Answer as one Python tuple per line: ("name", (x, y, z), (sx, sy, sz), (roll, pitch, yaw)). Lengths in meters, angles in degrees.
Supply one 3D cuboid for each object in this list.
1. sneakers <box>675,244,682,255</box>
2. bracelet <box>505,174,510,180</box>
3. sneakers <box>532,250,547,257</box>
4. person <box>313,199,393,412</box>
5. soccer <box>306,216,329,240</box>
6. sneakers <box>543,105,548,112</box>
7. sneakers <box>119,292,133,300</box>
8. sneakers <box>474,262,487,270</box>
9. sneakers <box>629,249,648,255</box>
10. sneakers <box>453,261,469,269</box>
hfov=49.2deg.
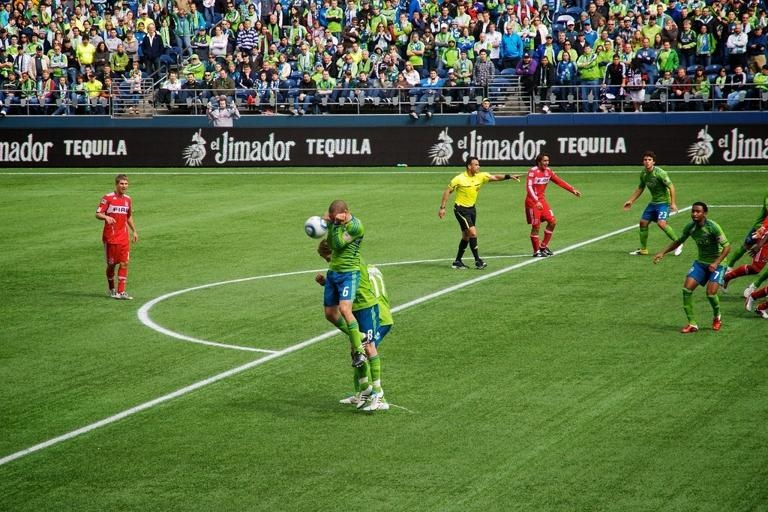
("sneakers", (7.001, -0.164, 20.066), (0.103, 0.129, 0.308), (-24, 15, 40))
("bracelet", (3.155, -2.059, 21.493), (0.123, 0.112, 0.377), (7, 4, 18))
("sneakers", (3.950, -0.076, 21.434), (0.327, 0.148, 0.122), (-1, 3, 27))
("person", (-0.469, 0.793, 12.918), (0.975, 3.314, 0.879), (-1, 9, 2))
("soccer", (-1.083, -0.470, 13.140), (0.350, 0.338, 0.337), (-4, 53, -16))
("sneakers", (6.973, -6.465, 36.377), (0.187, 0.212, 0.510), (2, 10, 6))
("sneakers", (-5.797, 0.877, 18.748), (0.367, 0.161, 0.131), (2, 5, 1))
("sneakers", (2.357, 0.204, 20.384), (0.298, 0.147, 0.136), (-2, 7, 41))
("sneakers", (6.505, -0.109, 21.555), (0.436, 0.200, 0.173), (3, 1, 15))
("sneakers", (1.877, 0.214, 20.598), (0.407, 0.190, 0.157), (1, 3, 2))
